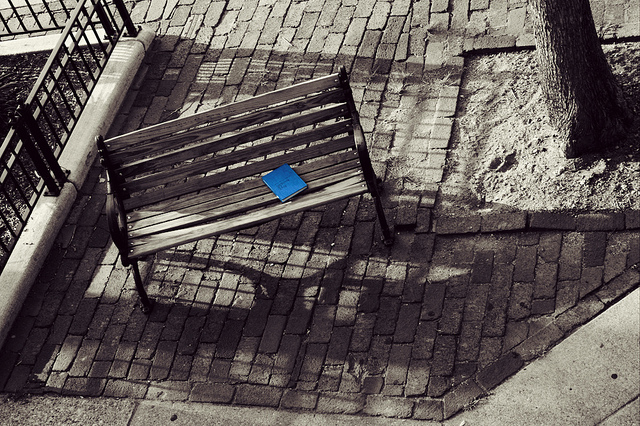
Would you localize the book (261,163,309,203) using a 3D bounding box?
[{"bbox_3d":[-0.386,-0.345,9.291,0.362,0.109,0.452,-35,53,-13],"label":"book"}]
